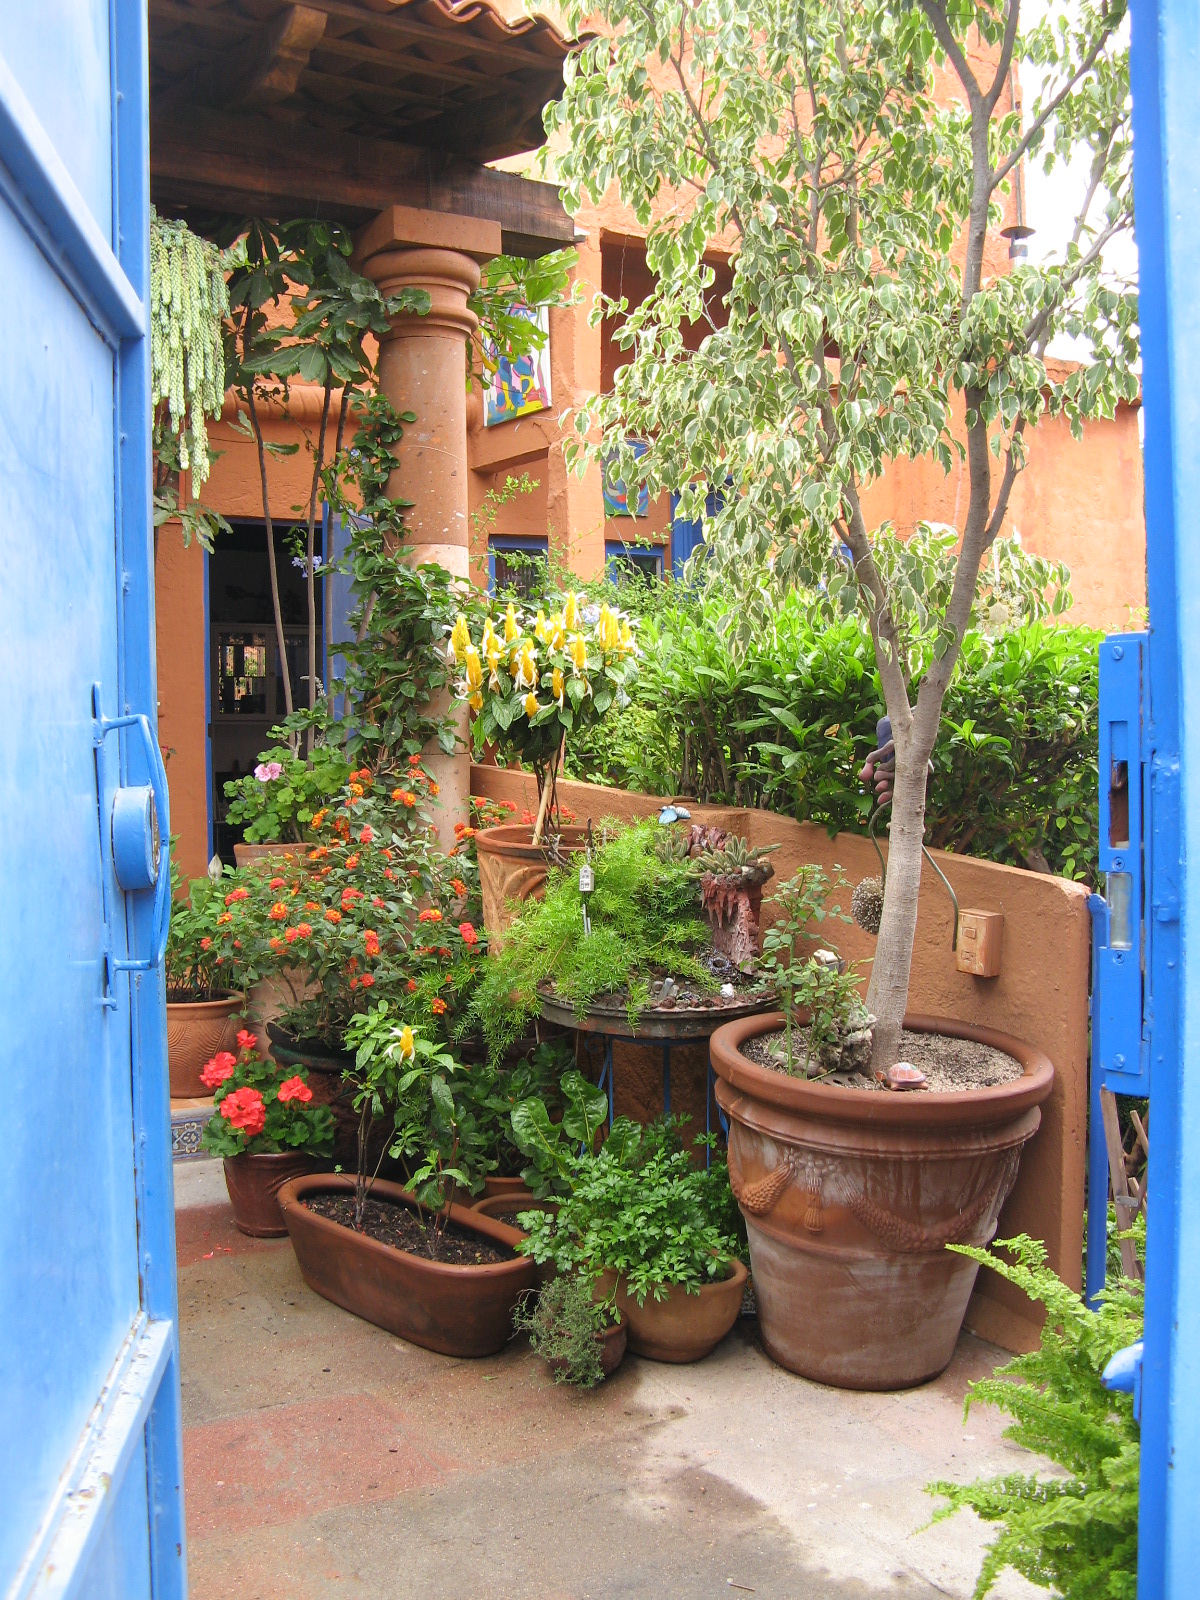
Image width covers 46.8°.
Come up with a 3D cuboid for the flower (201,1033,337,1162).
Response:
[{"bbox_3d":[-0.970,0.839,4.090,0.413,0.361,0.370,-3,28,-11],"label":"flower"}]

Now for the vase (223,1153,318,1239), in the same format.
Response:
[{"bbox_3d":[-0.977,1.150,4.103,0.248,0.198,0.250,0,-6,1],"label":"vase"}]
